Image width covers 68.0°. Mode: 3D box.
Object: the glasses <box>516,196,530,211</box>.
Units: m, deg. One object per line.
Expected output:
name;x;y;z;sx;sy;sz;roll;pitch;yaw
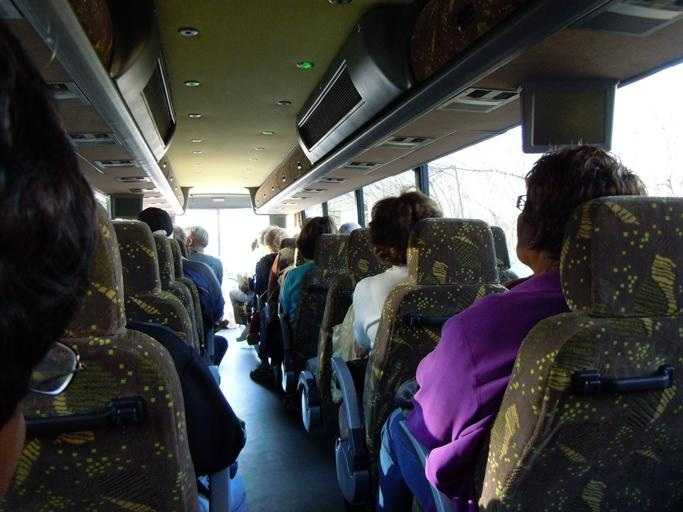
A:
glasses;0.560;-0.163;1.571;0.026;0.040;0.035;14;13;36
